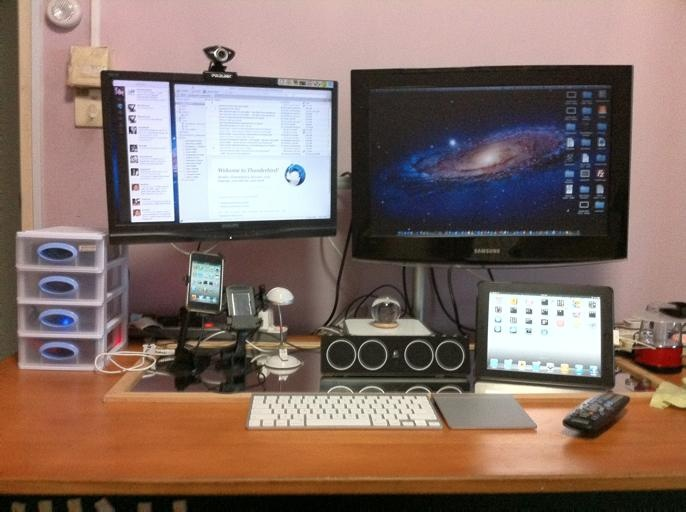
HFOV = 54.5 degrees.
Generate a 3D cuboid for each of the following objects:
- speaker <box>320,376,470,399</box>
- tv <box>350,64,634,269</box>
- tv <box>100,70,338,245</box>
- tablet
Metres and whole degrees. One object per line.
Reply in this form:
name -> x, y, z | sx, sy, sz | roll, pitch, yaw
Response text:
speaker -> 0.133, 0.336, 1.799 | 0.251, 0.037, 0.016 | 0, 3, -2
tv -> 0.423, -0.267, 1.933 | 0.809, 0.571, 0.105 | 2, 11, -1
tv -> -0.339, -0.278, 1.896 | 0.648, 0.474, 0.046 | -1, 11, -14
tablet -> 0.546, 0.205, 1.899 | 0.424, 0.264, 0.253 | 2, 8, 2
